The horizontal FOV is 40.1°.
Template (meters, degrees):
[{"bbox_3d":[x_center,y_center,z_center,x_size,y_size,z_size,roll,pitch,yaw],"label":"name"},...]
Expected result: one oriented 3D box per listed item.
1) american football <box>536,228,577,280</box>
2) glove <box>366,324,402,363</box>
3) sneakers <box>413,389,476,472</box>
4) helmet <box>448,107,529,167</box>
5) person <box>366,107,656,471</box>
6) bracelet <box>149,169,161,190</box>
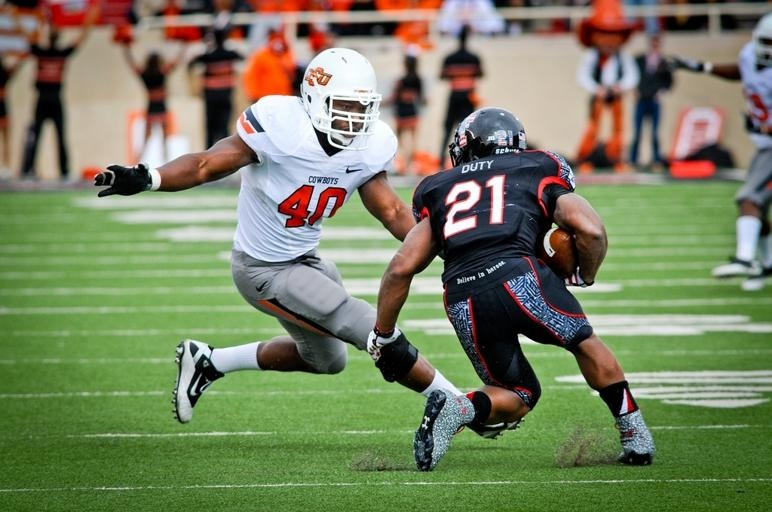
[{"bbox_3d":[1.108,-0.029,6.403,0.231,0.235,0.209,4,-19,-19],"label":"american football"},{"bbox_3d":[-0.017,0.521,6.522,0.179,0.219,0.132,29,19,-9],"label":"glove"},{"bbox_3d":[0.333,0.981,6.283,0.221,0.580,0.274,34,5,26],"label":"sneakers"},{"bbox_3d":[0.620,-0.738,6.650,0.360,0.355,0.427,-7,19,-26],"label":"helmet"},{"bbox_3d":[0.713,0.301,6.341,1.604,1.808,0.639,0,13,-5],"label":"person"},{"bbox_3d":[-1.382,-0.462,6.411,0.091,0.105,0.090,-9,17,-17],"label":"bracelet"}]
